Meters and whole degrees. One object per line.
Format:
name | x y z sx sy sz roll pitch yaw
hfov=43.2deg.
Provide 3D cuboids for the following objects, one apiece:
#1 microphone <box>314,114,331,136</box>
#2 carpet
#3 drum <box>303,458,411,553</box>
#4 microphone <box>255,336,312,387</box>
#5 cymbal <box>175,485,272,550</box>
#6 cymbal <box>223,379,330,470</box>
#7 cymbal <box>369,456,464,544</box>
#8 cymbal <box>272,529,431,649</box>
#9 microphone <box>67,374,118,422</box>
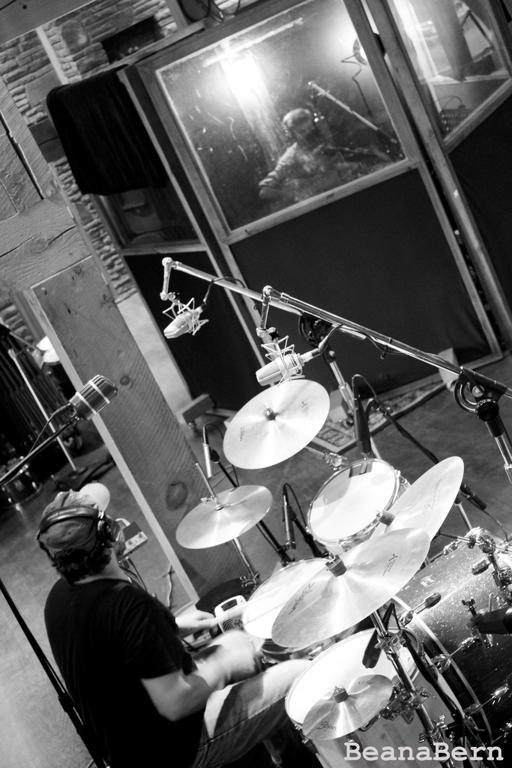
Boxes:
microphone | 0.450 -1.764 4.405 0.068 0.151 0.036 -32 11 16
carpet | 0.848 0.291 4.704 0.936 0.545 0.175 -13 -51 -61
drum | 0.514 0.537 2.722 0.414 0.384 0.395 6 -34 -26
microphone | 0.160 -0.125 3.438 0.315 0.205 0.219 -23 -27 7
cymbal | -0.155 0.595 3.003 0.444 0.101 0.432 -27 10 31
cymbal | 0.084 0.165 3.106 0.542 0.100 0.546 -15 32 37
cymbal | 0.545 0.354 2.190 0.321 0.076 0.351 -43 14 17
cymbal | 0.228 0.508 1.664 0.505 0.100 0.505 -29 -28 14
microphone | -0.599 0.053 2.335 0.182 0.105 0.070 -39 5 -25
